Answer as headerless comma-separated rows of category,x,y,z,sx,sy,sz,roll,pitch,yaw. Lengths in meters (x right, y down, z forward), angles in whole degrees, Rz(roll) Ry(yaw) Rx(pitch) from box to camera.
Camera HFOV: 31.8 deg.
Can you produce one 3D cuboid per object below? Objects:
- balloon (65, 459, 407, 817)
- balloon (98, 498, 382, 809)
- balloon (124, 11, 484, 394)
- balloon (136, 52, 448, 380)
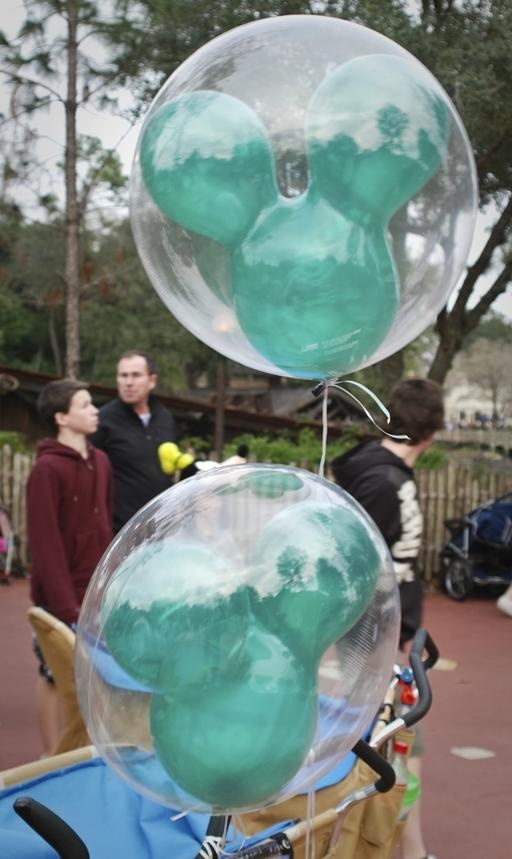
balloon,-0.020,0.274,1.602,0.539,0.399,0.614,-6,15,11
balloon,-0.060,0.365,1.477,0.559,0.480,0.318,3,-2,-35
balloon,0.075,-0.360,1.741,0.543,0.615,0.534,0,13,26
balloon,0.097,-0.362,1.608,0.579,0.538,0.237,-6,23,18
